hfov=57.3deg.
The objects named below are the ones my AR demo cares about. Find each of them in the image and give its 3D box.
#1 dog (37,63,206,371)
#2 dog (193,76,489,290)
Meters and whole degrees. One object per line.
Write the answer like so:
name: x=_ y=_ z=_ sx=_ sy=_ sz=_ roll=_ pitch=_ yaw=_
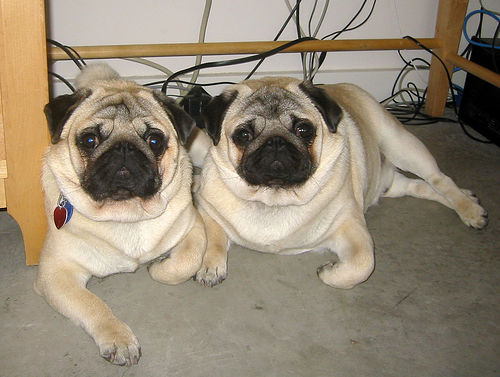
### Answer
dog: x=-0.633 y=-0.010 z=2.237 sx=0.650 sy=0.799 sz=1.449 roll=-4 pitch=46 yaw=-10
dog: x=0.415 y=-0.086 z=2.584 sx=1.565 sy=0.920 sz=1.070 roll=-7 pitch=36 yaw=-15
